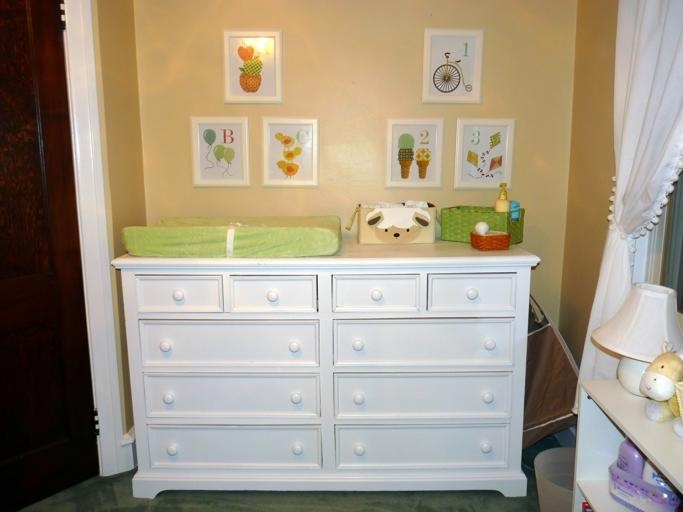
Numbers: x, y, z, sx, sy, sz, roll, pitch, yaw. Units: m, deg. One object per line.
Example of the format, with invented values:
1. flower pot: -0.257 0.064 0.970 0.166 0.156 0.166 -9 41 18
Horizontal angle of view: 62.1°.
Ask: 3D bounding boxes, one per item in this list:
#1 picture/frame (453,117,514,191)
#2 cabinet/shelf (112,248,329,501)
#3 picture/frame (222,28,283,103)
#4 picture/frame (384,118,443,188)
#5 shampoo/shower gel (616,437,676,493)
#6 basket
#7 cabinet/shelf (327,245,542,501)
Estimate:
1. picture/frame: 0.821 -0.613 3.267 0.414 0.523 0.034 1 11 2
2. cabinet/shelf: -0.557 0.588 3.098 1.057 1.302 0.583 0 15 -4
3. picture/frame: -0.503 -1.101 3.199 0.367 0.431 0.027 0 8 1
4. picture/frame: 0.417 -0.617 3.272 0.338 0.415 0.030 0 9 -3
5. shampoo/shower gel: 1.164 0.816 2.191 0.125 0.070 0.180 -2 23 -40
6. basket: 0.770 -0.177 3.119 0.403 0.193 0.284 6 15 29
7. cabinet/shelf: 0.417 0.516 3.106 1.121 1.380 0.728 -2 20 0
